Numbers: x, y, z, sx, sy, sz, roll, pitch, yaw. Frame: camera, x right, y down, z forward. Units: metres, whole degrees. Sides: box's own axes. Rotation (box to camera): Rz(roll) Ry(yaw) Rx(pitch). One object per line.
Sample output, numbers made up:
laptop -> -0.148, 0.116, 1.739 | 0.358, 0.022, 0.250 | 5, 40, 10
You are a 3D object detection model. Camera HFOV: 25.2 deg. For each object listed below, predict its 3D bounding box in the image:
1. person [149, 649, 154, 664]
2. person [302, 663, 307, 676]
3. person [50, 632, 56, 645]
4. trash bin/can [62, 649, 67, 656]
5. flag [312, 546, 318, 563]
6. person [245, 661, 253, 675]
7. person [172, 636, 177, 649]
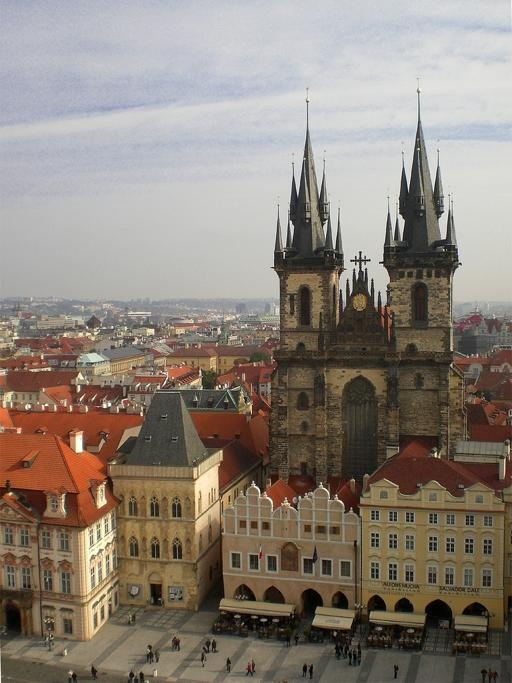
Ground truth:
person -> -7.038, 21.388, 77.081 | 0.285, 0.550, 0.746 | -2, 2, -6
person -> 3.163, 21.526, 74.671 | 0.360, 0.675, 0.911 | -2, 2, 2
person -> -14.179, 20.814, 79.715 | 0.348, 0.709, 1.530 | -2, 2, -9
trash bin/can -> -13.021, 21.364, 78.079 | 0.192, 0.354, 0.251 | 3, 9, 3
flag -> 4.222, 15.475, 82.537 | 0.398, 1.198, 0.278 | -2, 2, 0
person -> -0.386, 21.593, 75.023 | 0.528, 0.928, 0.594 | 4, 18, 5
person -> -5.605, 20.912, 78.730 | 0.343, 0.612, 0.738 | -2, 2, -6
